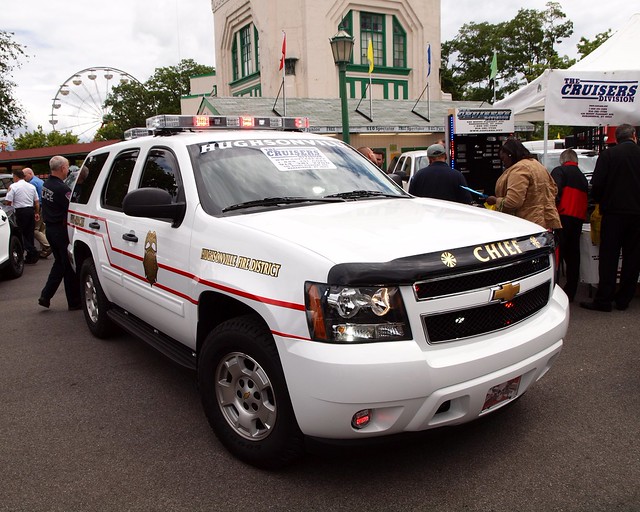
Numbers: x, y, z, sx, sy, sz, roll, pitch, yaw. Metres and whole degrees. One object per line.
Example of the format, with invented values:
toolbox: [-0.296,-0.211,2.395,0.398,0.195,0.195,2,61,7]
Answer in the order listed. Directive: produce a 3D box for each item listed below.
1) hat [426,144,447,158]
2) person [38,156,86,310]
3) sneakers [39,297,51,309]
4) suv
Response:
hat: [1.874,-1.690,8.045,0.287,0.167,0.474,-2,13,12]
person: [-3.767,-0.302,7.376,0.831,2.263,0.614,1,6,-2]
sneakers: [-4.151,0.710,7.495,0.128,0.167,0.176,2,22,-21]
suv: [-0.415,0.152,4.296,2.244,1.946,3.877,-3,5,-37]
